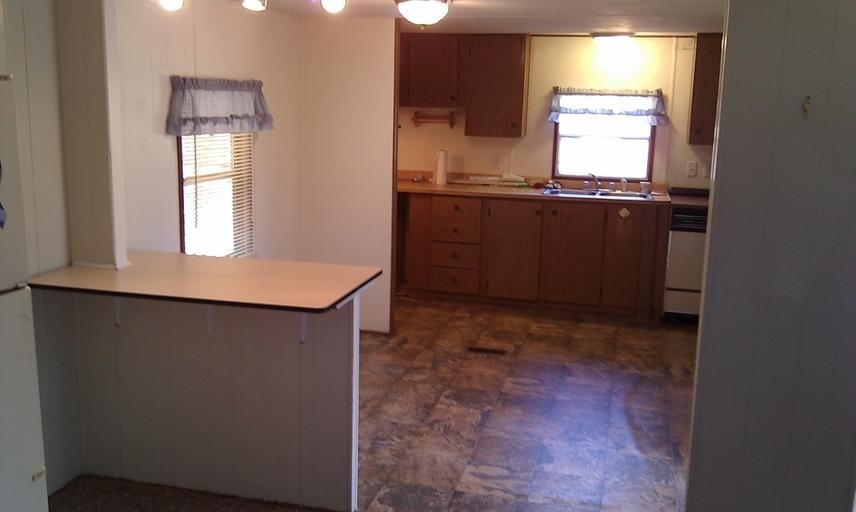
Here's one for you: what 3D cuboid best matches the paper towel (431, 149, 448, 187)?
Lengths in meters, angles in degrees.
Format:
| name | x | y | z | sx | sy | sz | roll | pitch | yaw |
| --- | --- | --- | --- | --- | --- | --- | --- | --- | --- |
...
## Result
| name | x | y | z | sx | sy | sz | roll | pitch | yaw |
| --- | --- | --- | --- | --- | --- | --- | --- | --- | --- |
| paper towel | 0.128 | -0.947 | 6.908 | 0.166 | 0.358 | 0.315 | 0 | 11 | 1 |

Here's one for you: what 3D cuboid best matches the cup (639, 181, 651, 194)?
| name | x | y | z | sx | sy | sz | roll | pitch | yaw |
| --- | --- | --- | --- | --- | --- | --- | --- | --- | --- |
| cup | 2.239 | -0.701 | 6.610 | 0.124 | 0.124 | 0.105 | -3 | 11 | -7 |

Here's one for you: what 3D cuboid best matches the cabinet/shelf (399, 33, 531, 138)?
| name | x | y | z | sx | sy | sz | roll | pitch | yaw |
| --- | --- | --- | --- | --- | --- | --- | --- | --- | --- |
| cabinet/shelf | 0.428 | -1.791 | 6.609 | 0.966 | 0.720 | 0.351 | 2 | 10 | 6 |

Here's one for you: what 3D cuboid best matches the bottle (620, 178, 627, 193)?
| name | x | y | z | sx | sy | sz | roll | pitch | yaw |
| --- | --- | --- | --- | --- | --- | --- | --- | --- | --- |
| bottle | 2.043 | -0.738 | 6.686 | 0.076 | 0.132 | 0.091 | 0 | 11 | 0 |

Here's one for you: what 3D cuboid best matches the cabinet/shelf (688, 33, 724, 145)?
| name | x | y | z | sx | sy | sz | roll | pitch | yaw |
| --- | --- | --- | --- | --- | --- | --- | --- | --- | --- |
| cabinet/shelf | 2.646 | -1.588 | 6.164 | 0.224 | 1.036 | 0.240 | 4 | 12 | 22 |
